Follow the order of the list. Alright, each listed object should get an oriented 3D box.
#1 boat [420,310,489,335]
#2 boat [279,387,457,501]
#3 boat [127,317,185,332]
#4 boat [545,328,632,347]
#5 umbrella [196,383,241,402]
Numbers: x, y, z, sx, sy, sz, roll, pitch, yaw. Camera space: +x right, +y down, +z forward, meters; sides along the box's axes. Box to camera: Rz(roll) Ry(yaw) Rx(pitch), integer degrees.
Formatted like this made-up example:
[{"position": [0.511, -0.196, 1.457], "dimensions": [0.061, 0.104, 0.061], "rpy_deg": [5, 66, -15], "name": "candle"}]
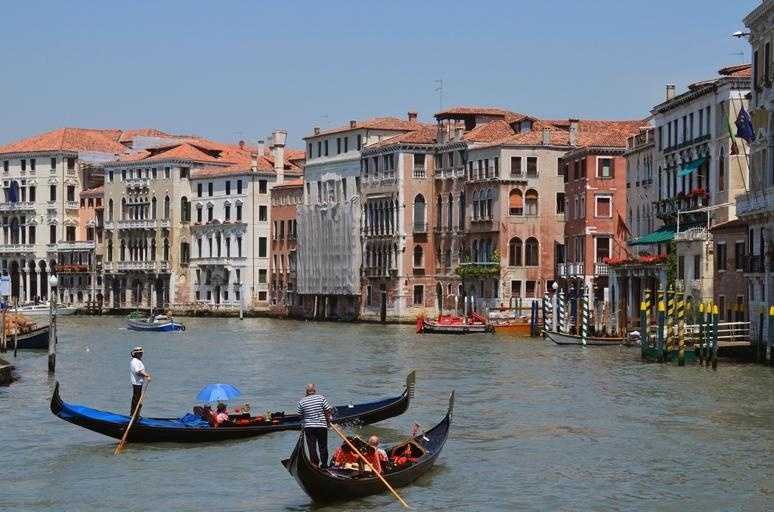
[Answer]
[{"position": [5.059, 5.081, 107.382], "dimensions": [6.372, 1.872, 1.822], "rpy_deg": [2, -7, 3], "name": "boat"}, {"position": [-0.702, 7.997, 53.725], "dimensions": [2.108, 2.578, 7.404], "rpy_deg": [-5, -7, 41], "name": "boat"}, {"position": [-19.081, 5.583, 114.053], "dimensions": [1.639, 0.820, 4.871], "rpy_deg": [3, 0, -43], "name": "boat"}, {"position": [12.810, 5.524, 93.663], "dimensions": [4.813, 0.794, 1.469], "rpy_deg": [0, -4, 33], "name": "boat"}, {"position": [-7.077, 5.697, 59.077], "dimensions": [1.527, 0.730, 2.321], "rpy_deg": [0, -5, -10], "name": "umbrella"}]
